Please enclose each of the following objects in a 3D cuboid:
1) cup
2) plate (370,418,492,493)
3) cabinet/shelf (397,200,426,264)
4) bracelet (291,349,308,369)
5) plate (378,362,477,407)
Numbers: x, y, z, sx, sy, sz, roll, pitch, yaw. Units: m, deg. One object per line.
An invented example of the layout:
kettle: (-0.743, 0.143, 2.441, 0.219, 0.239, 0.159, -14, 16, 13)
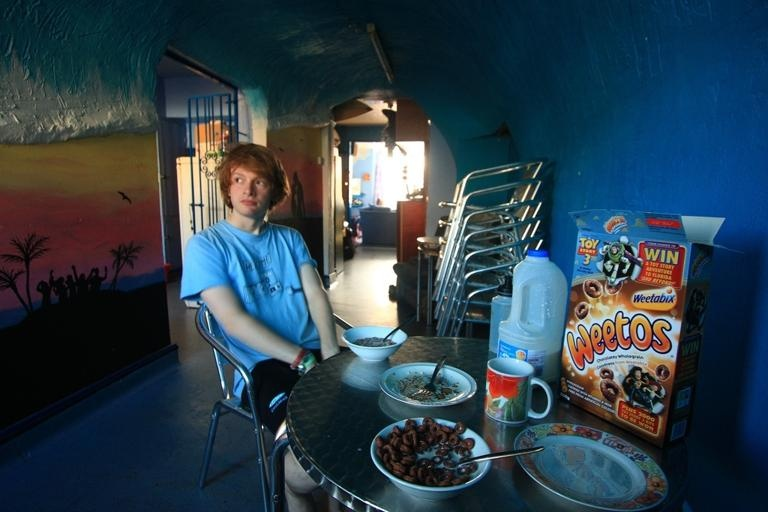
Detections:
cup: (0.457, 0.464, 1.661, 0.227, 0.164, 0.145, 12, 13, 42)
plate: (0.105, 0.635, 1.526, 0.333, 0.126, 0.321, 4, 20, -22)
cabinet/shelf: (0.360, -0.452, 7.519, 0.551, 0.912, 0.546, -1, 24, -3)
bracelet: (-0.376, 0.454, 2.213, 0.029, 0.075, 0.057, 17, -15, -24)
plate: (0.143, 0.449, 1.806, 0.300, 0.043, 0.296, 0, 5, -3)
